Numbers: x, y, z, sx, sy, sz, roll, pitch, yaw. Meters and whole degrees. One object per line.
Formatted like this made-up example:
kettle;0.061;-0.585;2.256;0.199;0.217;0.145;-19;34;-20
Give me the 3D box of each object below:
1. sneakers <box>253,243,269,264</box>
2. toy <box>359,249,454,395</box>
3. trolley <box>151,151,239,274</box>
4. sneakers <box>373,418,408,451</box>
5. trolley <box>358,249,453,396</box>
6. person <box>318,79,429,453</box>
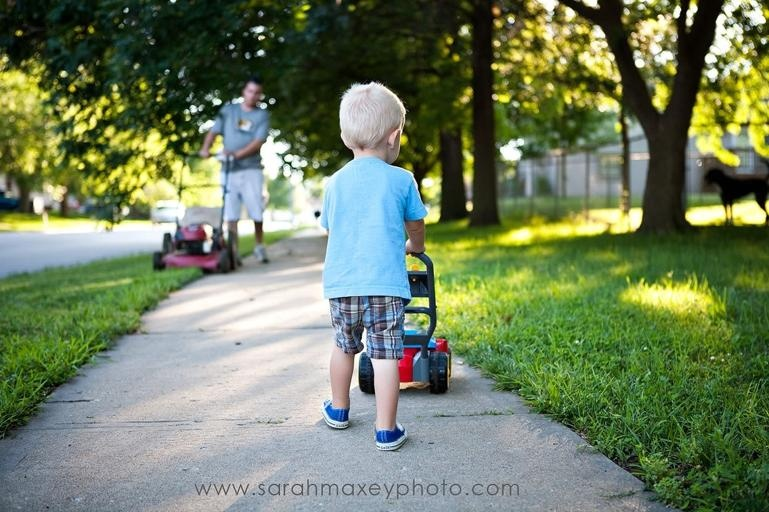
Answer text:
sneakers;-1.954;-0.050;12.558;0.150;0.307;0.304;-3;25;-2
toy;0.335;0.639;7.398;0.887;1.595;1.159;1;5;3
trolley;-2.679;-0.362;11.420;0.952;1.715;1.770;-1;-6;3
sneakers;0.040;1.440;6.362;0.215;0.232;0.513;0;-2;7
trolley;0.247;0.567;7.422;0.734;1.346;0.957;1;0;9
person;-0.084;0.051;6.495;0.869;2.924;0.688;-3;7;0
